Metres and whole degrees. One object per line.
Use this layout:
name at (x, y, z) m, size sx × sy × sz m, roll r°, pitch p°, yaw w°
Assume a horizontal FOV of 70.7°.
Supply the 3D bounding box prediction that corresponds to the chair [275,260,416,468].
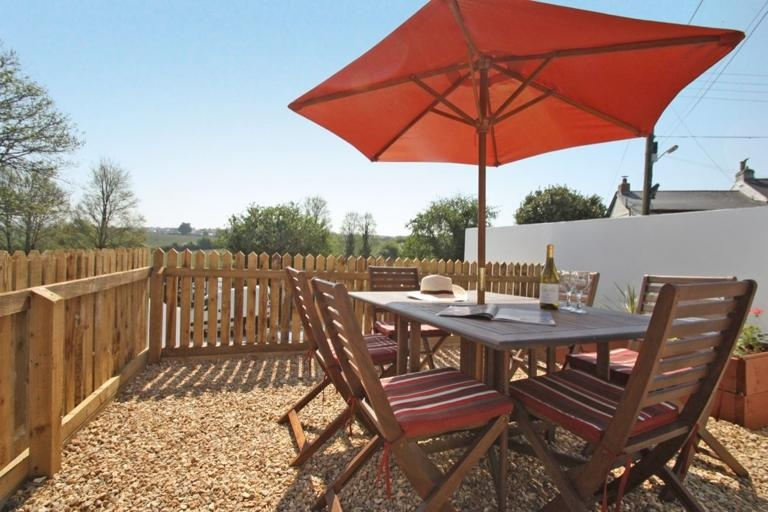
chair at (-0.484, 1.329, 7.648) m, size 1.951 × 2.794 × 1.875 m, roll -1°, pitch 2°, yaw -16°

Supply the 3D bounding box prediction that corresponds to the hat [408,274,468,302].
hat at (0.785, 0.468, 7.210) m, size 0.434 × 0.183 × 0.495 m, roll 4°, pitch -10°, yaw -35°
